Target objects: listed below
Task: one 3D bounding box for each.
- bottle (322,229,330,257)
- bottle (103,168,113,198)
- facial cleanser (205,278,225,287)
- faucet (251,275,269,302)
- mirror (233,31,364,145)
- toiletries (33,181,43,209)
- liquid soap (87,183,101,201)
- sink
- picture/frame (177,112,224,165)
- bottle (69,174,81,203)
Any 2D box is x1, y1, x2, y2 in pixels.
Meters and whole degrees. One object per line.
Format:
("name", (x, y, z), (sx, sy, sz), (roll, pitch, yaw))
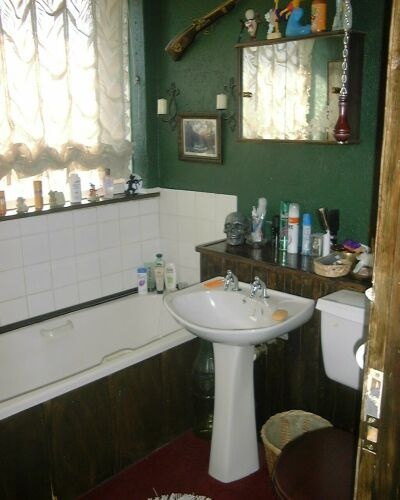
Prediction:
("bottle", (0.665, -0.028, 2.136), (0.042, 0.126, 0.198), (4, 11, 17))
("bottle", (-0.708, -0.516, 3.154), (0.083, 0.220, 0.131), (-2, 10, -14))
("facial cleanser", (0.075, 0.187, 2.241), (0.039, 0.018, 0.062), (7, 19, 42))
("faucet", (0.299, 0.199, 2.051), (0.061, 0.159, 0.120), (7, 10, 43))
("mirror", (0.564, -0.895, 2.237), (0.081, 0.525, 0.595), (-12, 20, -36))
("toiletries", (-1.095, -0.372, 2.765), (0.063, 0.195, 0.212), (-3, 11, -22))
("liquid soap", (-0.803, -0.430, 3.061), (0.074, 0.150, 0.077), (19, 30, 36))
("sink", (0.105, 0.322, 2.063), (0.211, 0.094, 0.308), (-19, 25, -41))
("picture/frame", (0.000, -0.798, 2.925), (0.059, 0.335, 0.417), (-8, 14, -43))
("bottle", (-0.890, -0.435, 2.906), (0.079, 0.208, 0.071), (-3, 10, -21))
